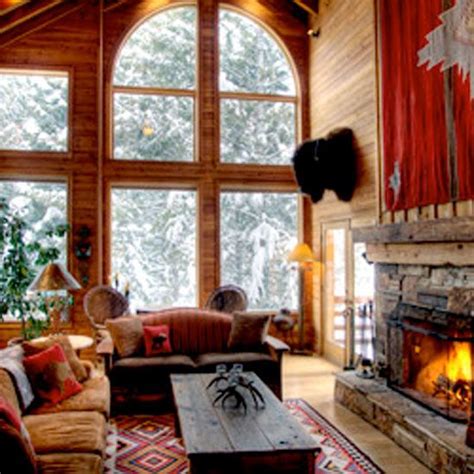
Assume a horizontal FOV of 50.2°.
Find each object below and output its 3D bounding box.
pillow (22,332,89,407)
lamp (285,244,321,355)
[{"bbox_3d":[-1.406,1.014,3.919,0.121,0.433,0.426,-25,-2,19],"label":"pillow"},{"bbox_3d":[0.985,0.884,7.449,0.444,1.407,0.751,-1,-1,5],"label":"lamp"}]
